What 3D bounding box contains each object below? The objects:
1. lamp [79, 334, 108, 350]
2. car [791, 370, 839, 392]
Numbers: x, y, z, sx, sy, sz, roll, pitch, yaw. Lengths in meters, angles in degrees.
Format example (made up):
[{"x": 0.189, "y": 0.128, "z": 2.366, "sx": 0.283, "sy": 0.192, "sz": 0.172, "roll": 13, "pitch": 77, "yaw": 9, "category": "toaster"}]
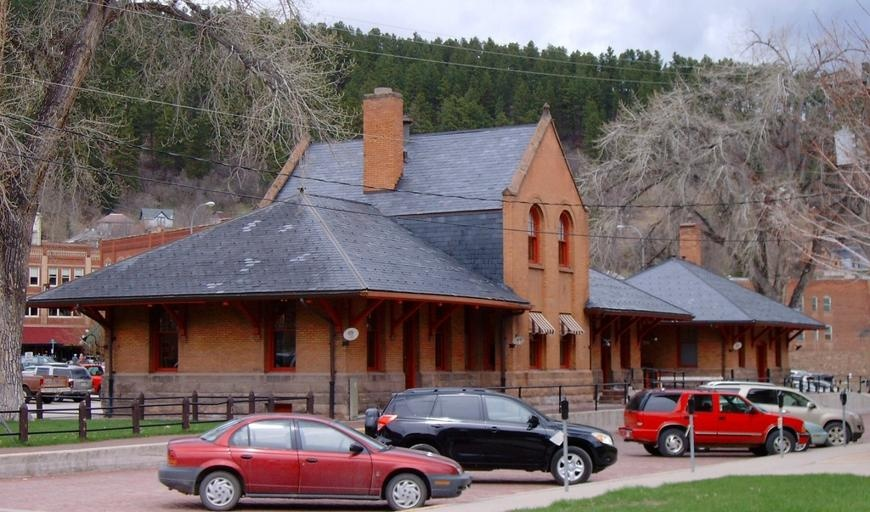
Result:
[{"x": -27.339, "y": 6.835, "z": 114.905, "sx": 1.386, "sy": 1.130, "sz": 4.491, "roll": 2, "pitch": -7, "yaw": -22, "category": "lamp"}, {"x": 26.346, "y": 8.587, "z": 100.355, "sx": 3.216, "sy": 0.957, "sz": 3.336, "roll": 1, "pitch": -2, "yaw": 20, "category": "car"}]
